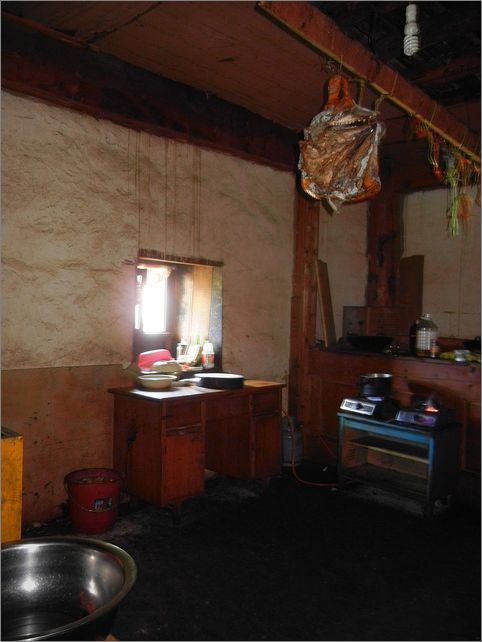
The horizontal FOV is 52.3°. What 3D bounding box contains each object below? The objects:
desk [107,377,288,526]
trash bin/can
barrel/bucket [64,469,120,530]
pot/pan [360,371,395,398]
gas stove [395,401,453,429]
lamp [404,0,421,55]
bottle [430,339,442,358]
[{"bbox_3d":[-0.318,1.009,4.040,0.658,0.858,1.391,-6,-7,42],"label":"desk"},{"bbox_3d":[-1.008,1.191,3.351,0.365,0.339,0.409,-4,-6,33],"label":"trash bin/can"},{"bbox_3d":[-1.015,1.183,3.368,0.358,0.332,0.400,-4,-6,35],"label":"barrel/bucket"},{"bbox_3d":[1.194,0.592,4.381,0.271,0.184,0.179,2,0,13],"label":"pot/pan"},{"bbox_3d":[1.492,0.762,3.996,0.360,0.173,0.349,2,-1,43],"label":"gas stove"},{"bbox_3d":[0.991,-1.711,2.849,0.082,0.284,0.266,2,0,18],"label":"lamp"},{"bbox_3d":[1.753,0.254,4.439,0.071,0.144,0.152,2,0,21],"label":"bottle"}]
